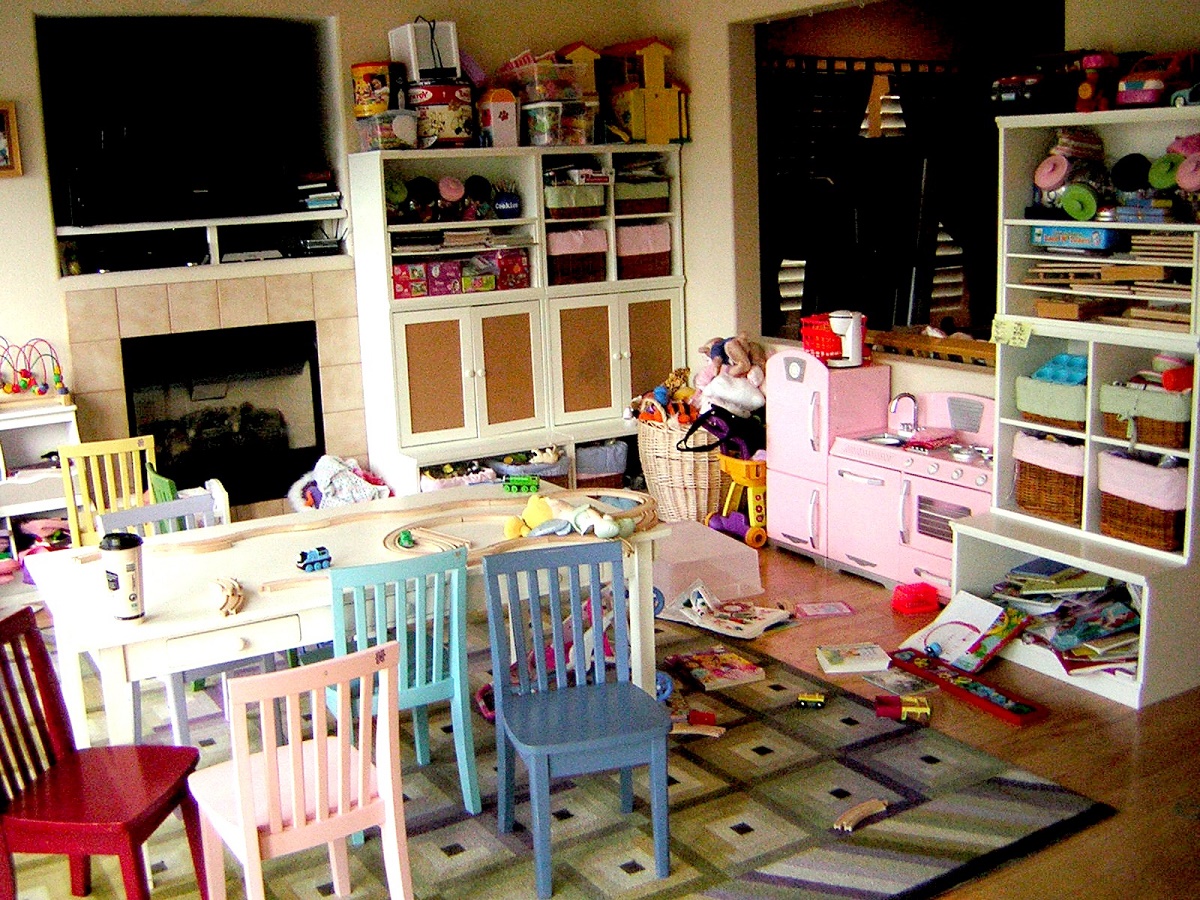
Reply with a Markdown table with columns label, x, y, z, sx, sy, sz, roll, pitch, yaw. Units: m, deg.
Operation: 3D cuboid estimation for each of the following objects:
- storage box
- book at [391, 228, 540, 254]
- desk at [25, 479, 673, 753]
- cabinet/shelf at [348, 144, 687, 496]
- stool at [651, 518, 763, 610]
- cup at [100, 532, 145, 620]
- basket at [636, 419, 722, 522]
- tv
| label | x | y | z | sx | sy | sz | roll | pitch | yaw |
| --- | --- | --- | --- | --- | --- | --- | --- | --- | --- |
| storage box | 0.017 | -1.483 | 6.343 | 0.855 | 0.480 | 0.442 | -6 | 13 | -24 |
| book | -0.885 | -1.347 | 5.990 | 0.950 | 0.156 | 0.328 | -14 | 16 | -37 |
| desk | -0.853 | 0.616 | 3.331 | 1.264 | 0.454 | 0.567 | -10 | 16 | -32 |
| cabinet/shelf | -0.620 | -0.855 | 6.096 | 2.646 | 1.950 | 0.794 | -7 | 14 | -25 |
| stool | 0.565 | 0.623 | 5.134 | 0.663 | 0.206 | 0.615 | -4 | 6 | -29 |
| cup | -1.468 | 0.388 | 2.920 | 0.129 | 0.270 | 0.147 | -14 | 17 | -26 |
| basket | 0.341 | 0.122 | 6.135 | 0.737 | 0.578 | 0.604 | -2 | 10 | -9 |
| tv | -2.619 | -2.022 | 5.726 | 1.789 | 1.006 | 0.071 | -6 | 13 | -24 |
